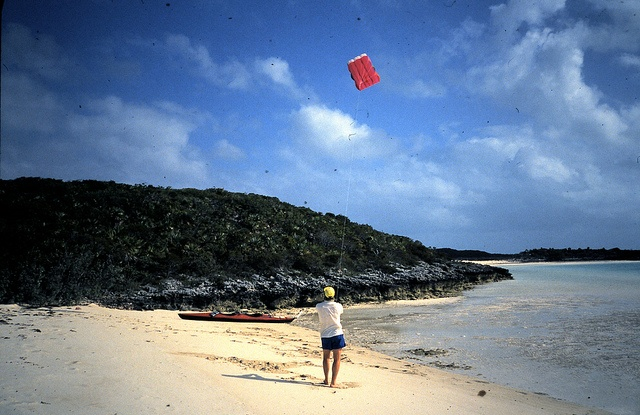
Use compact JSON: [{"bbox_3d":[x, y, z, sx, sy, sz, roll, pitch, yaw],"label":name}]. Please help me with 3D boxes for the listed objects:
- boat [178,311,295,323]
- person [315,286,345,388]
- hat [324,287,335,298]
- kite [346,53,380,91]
[{"bbox_3d":[-4.397,5.719,21.969,5.531,0.633,1.051,3,-12,-18],"label":"boat"},{"bbox_3d":[0.347,4.317,14.374,0.863,3.159,1.492,-1,-11,2],"label":"person"},{"bbox_3d":[0.306,2.823,14.262,0.303,0.366,0.412,3,5,4],"label":"hat"},{"bbox_3d":[2.237,-7.499,22.777,1.663,0.573,2.105,8,-14,19],"label":"kite"}]
